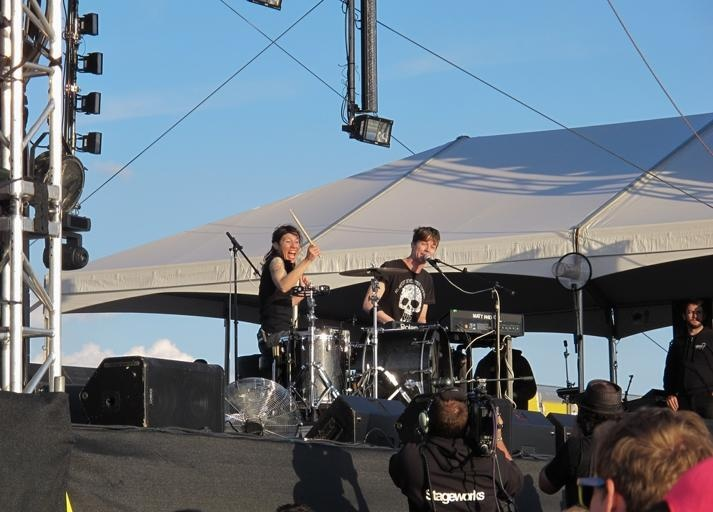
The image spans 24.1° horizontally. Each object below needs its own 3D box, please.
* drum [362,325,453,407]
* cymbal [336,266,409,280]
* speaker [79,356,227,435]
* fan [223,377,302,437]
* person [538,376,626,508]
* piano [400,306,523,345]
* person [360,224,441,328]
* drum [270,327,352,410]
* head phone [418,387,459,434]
[{"bbox_3d":[0.426,0.987,15.804,0.695,0.862,0.900,0,-3,3],"label":"drum"},{"bbox_3d":[0.169,0.189,15.943,0.582,0.116,0.520,-2,-11,11],"label":"cymbal"},{"bbox_3d":[-1.627,1.130,13.401,1.159,0.572,0.679,2,-11,-8],"label":"speaker"},{"bbox_3d":[-0.839,1.343,14.733,0.657,0.506,0.665,1,-4,-4],"label":"fan"},{"bbox_3d":[1.726,1.437,12.779,0.592,1.031,0.567,4,-2,-10],"label":"person"},{"bbox_3d":[1.009,0.717,16.331,0.969,0.328,0.927,2,-4,-13],"label":"piano"},{"bbox_3d":[0.454,0.241,16.098,0.620,0.986,0.551,-3,-1,11],"label":"person"},{"bbox_3d":[-0.428,1.045,15.692,0.592,0.791,0.560,-2,-1,0],"label":"drum"},{"bbox_3d":[0.631,1.220,12.891,0.413,0.365,0.225,0,2,-11],"label":"head phone"}]
